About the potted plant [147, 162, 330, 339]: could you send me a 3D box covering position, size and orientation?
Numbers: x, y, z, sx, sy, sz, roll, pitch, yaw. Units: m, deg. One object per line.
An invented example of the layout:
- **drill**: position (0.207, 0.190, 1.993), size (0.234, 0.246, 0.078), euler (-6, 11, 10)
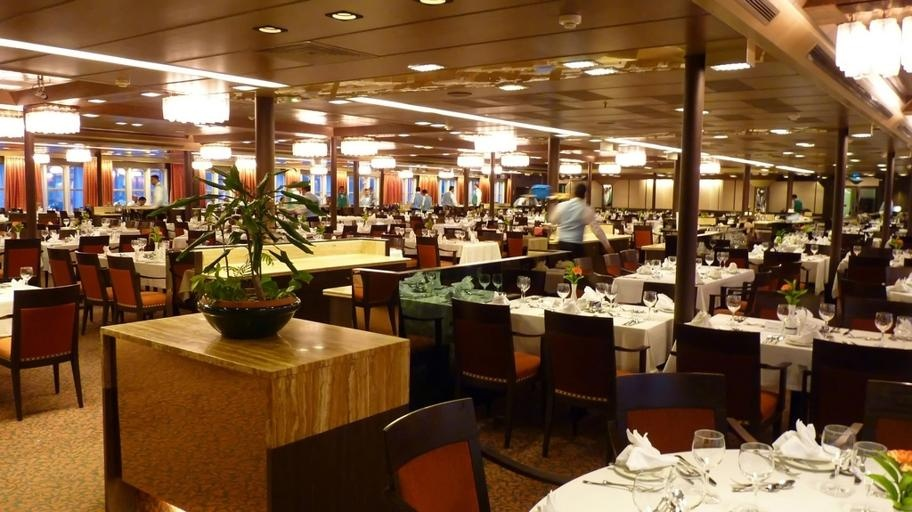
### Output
- **potted plant**: position (-1.458, 0.102, 4.636), size (1.108, 0.935, 1.015), euler (-12, -12, 39)

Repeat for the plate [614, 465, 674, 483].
- **plate**: position (1.114, 1.290, 3.641), size (0.227, 0.042, 0.193), euler (-2, -4, -18)

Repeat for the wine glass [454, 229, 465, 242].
- **wine glass**: position (0.047, -0.443, 13.516), size (0.235, 0.352, 0.258), euler (0, 0, -2)

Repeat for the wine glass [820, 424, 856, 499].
- **wine glass**: position (2.326, 1.238, 3.766), size (0.173, 0.375, 0.278), euler (4, 7, 32)

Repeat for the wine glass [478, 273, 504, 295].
- **wine glass**: position (0.378, 0.315, 6.870), size (0.253, 0.374, 0.244), euler (-1, -3, -5)
